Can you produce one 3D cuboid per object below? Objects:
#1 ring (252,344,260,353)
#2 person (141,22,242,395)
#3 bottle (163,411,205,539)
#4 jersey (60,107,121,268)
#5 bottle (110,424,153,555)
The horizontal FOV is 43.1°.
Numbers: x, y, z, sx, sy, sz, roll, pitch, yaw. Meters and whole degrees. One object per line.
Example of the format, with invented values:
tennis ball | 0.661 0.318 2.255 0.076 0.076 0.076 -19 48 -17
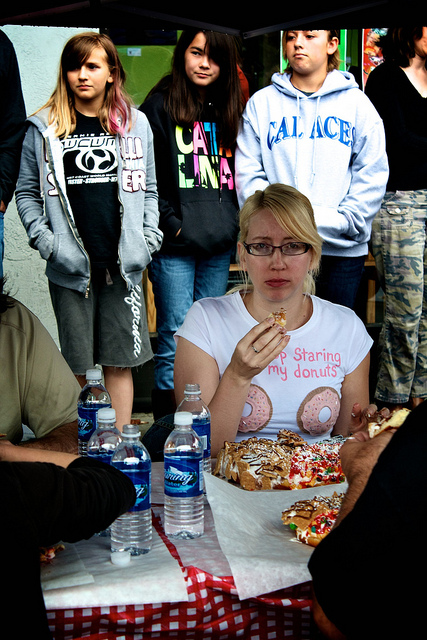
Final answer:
ring | 0.153 0.106 1.932 0.006 0.021 0.021 -49 22 -13
person | -0.084 -0.634 3.881 1.032 2.893 0.689 -1 0 -9
bottle | -0.075 0.372 1.288 0.102 0.283 0.208 -6 17 -2
jersey | -0.750 -0.788 3.418 0.329 0.904 0.196 -8 17 -8
bottle | -0.189 0.387 1.205 0.098 0.242 0.257 -7 17 -6
